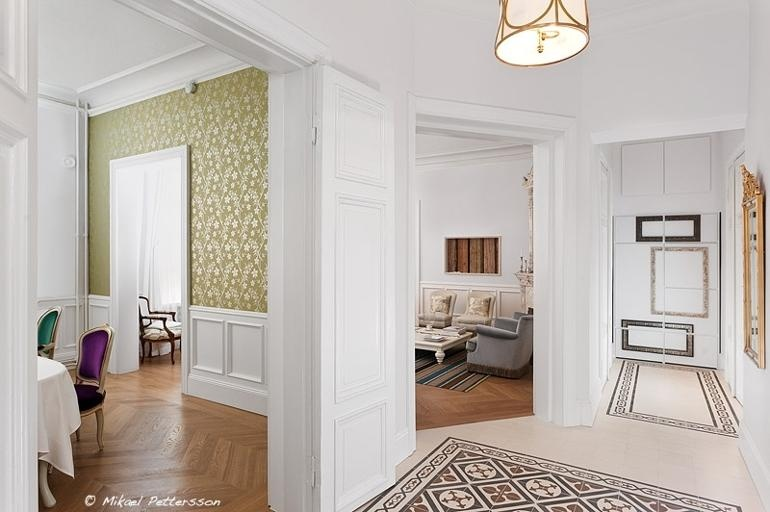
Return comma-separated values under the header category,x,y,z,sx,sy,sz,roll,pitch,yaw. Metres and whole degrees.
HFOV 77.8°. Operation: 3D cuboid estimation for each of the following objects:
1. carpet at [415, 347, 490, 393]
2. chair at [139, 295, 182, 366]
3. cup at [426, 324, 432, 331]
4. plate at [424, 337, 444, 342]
category,x,y,z,sx,sy,sz,roll,pitch,yaw
carpet,0.866,1.624,7.366,0.901,0.010,0.984,2,19,3
chair,-3.515,1.114,7.463,0.655,0.969,0.675,2,2,-6
cup,0.768,1.246,8.260,0.092,0.066,0.091,1,-4,0
plate,0.776,1.316,7.535,0.306,0.028,0.180,-1,8,-6
